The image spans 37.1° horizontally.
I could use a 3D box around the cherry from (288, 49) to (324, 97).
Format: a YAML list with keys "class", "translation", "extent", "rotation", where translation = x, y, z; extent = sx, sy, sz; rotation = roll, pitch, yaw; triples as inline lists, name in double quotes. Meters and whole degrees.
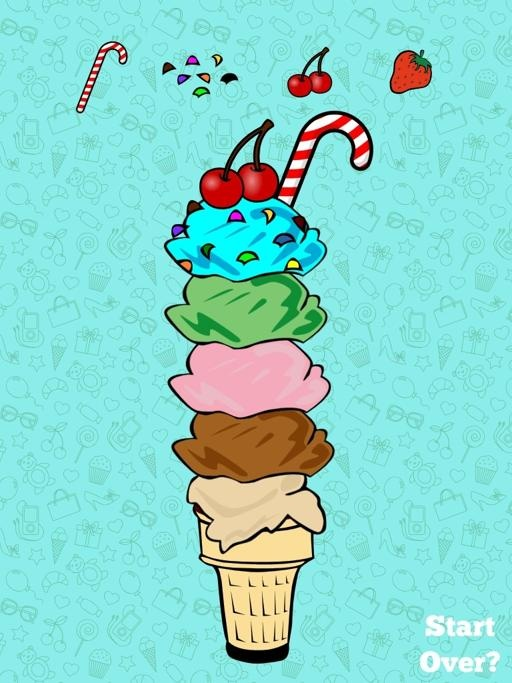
- class: "cherry"
  translation: [0.124, -0.671, 1.945]
  extent: [0.065, 0.052, 0.123]
  rotation: [34, 103, -1]
